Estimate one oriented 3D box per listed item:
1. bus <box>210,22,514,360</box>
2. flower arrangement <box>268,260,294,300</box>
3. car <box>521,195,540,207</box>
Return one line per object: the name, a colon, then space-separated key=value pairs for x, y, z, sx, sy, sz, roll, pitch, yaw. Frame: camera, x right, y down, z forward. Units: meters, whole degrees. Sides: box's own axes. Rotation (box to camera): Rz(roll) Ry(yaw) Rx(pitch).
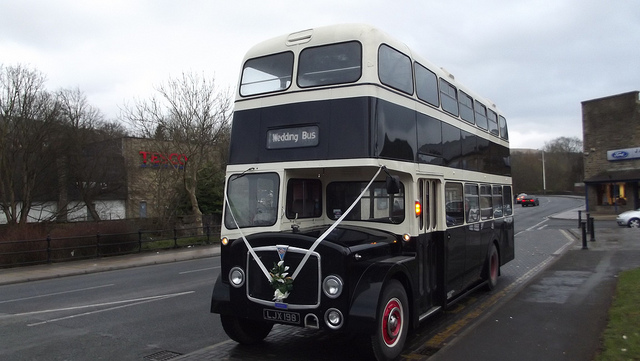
bus: x=1.037 y=0.765 z=11.230 sx=3.593 sy=5.718 sz=8.628 roll=-3 pitch=-4 yaw=35
flower arrangement: x=-1.002 y=2.442 z=10.359 sx=0.791 sy=0.357 sz=0.904 roll=30 pitch=16 yaw=-14
car: x=34.799 y=3.420 z=65.243 sx=2.303 sy=0.968 sz=1.304 roll=-3 pitch=-2 yaw=15
